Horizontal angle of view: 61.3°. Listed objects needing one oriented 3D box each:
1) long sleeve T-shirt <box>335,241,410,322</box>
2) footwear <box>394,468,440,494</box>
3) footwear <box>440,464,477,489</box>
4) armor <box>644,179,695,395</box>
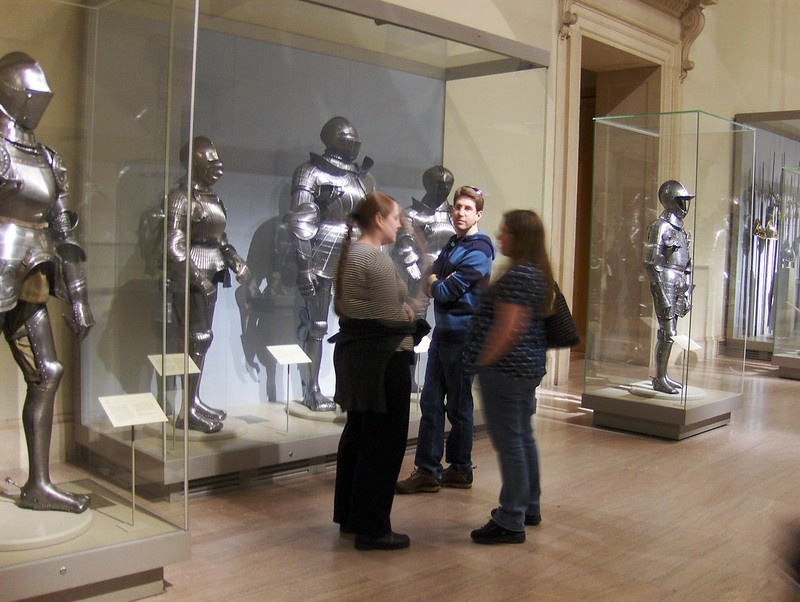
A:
[{"bbox_3d":[-0.112,-0.095,3.123,0.272,0.362,0.484,-12,16,-25],"label":"long sleeve T-shirt"},{"bbox_3d":[0.103,1.071,4.001,0.252,0.132,0.110,3,-4,-6],"label":"footwear"},{"bbox_3d":[0.347,1.052,4.054,0.219,0.106,0.090,3,2,30],"label":"footwear"},{"bbox_3d":[2.092,-0.097,5.189,0.386,1.638,0.157,0,5,-11],"label":"armor"}]
